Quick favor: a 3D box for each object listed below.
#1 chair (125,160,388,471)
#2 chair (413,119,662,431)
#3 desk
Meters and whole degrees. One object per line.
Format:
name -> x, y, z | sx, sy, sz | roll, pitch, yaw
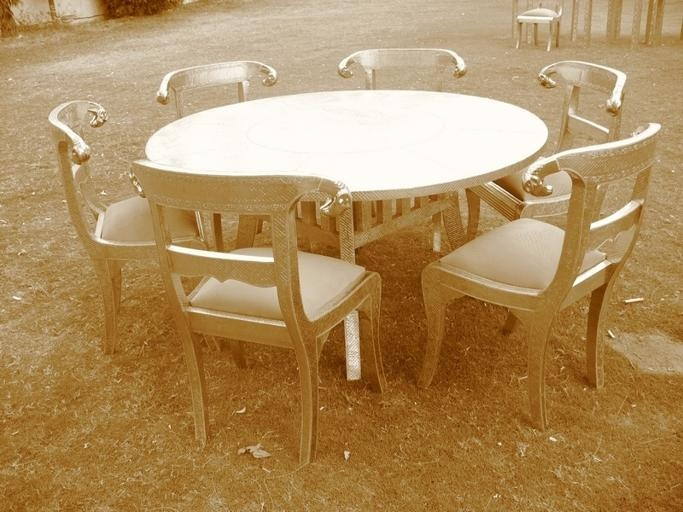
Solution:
chair -> -0.276, 0.159, 2.280 | 0.769, 1.137, 0.424 | 3, 26, 15
chair -> 0.717, 0.063, 2.370 | 0.741, 1.073, 0.518 | -20, 30, -29
desk -> 0.111, 0.139, 2.892 | 1.405, 0.914, 1.472 | -6, 34, -4
